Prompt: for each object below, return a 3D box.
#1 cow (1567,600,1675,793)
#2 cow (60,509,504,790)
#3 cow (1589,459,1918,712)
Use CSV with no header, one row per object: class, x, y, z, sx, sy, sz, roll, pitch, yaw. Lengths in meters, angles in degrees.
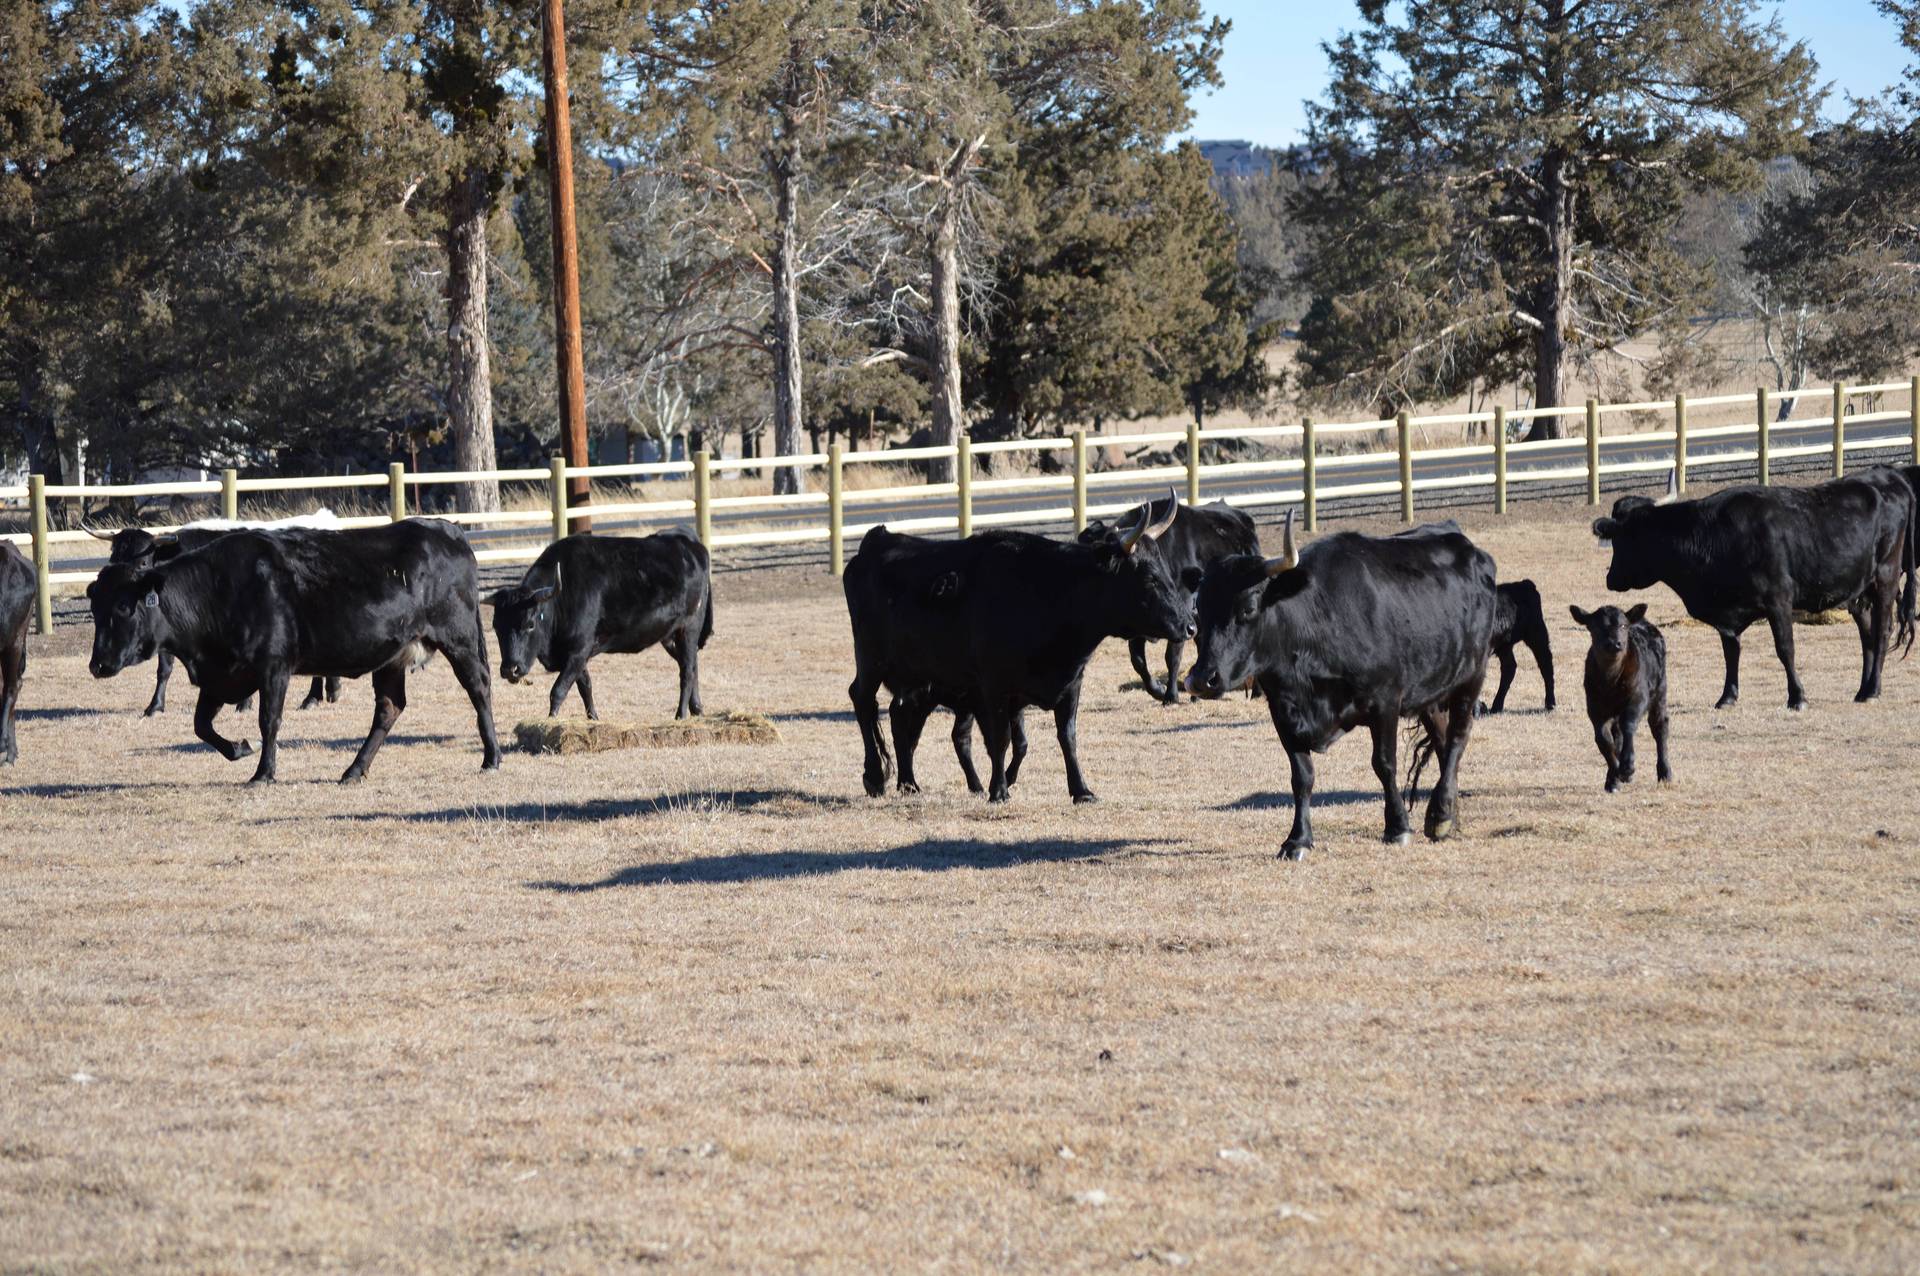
cow,7.511,0.692,32.549,0.711,2.047,2.834,0,-2,25
cow,-7.782,0.210,33.552,4.361,2.921,0.949,-2,1,-7
cow,10.116,-0.587,35.925,3.454,2.778,1.409,-1,2,18
